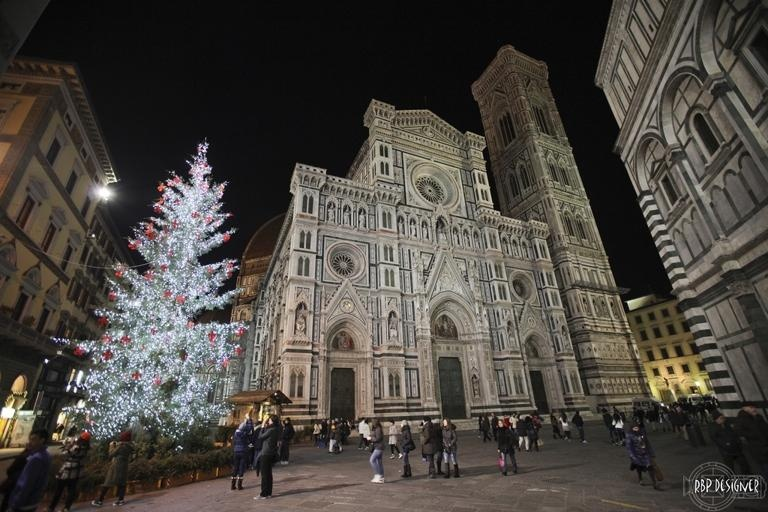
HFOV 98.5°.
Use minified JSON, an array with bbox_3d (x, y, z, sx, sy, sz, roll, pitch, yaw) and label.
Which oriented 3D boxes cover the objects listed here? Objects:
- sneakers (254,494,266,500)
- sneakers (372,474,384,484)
[{"bbox_3d":[-3.756,7.745,10.651,0.374,0.159,0.150,11,-41,-5],"label":"sneakers"},{"bbox_3d":[-0.242,7.947,11.844,0.267,0.171,0.387,-25,-42,34],"label":"sneakers"}]
